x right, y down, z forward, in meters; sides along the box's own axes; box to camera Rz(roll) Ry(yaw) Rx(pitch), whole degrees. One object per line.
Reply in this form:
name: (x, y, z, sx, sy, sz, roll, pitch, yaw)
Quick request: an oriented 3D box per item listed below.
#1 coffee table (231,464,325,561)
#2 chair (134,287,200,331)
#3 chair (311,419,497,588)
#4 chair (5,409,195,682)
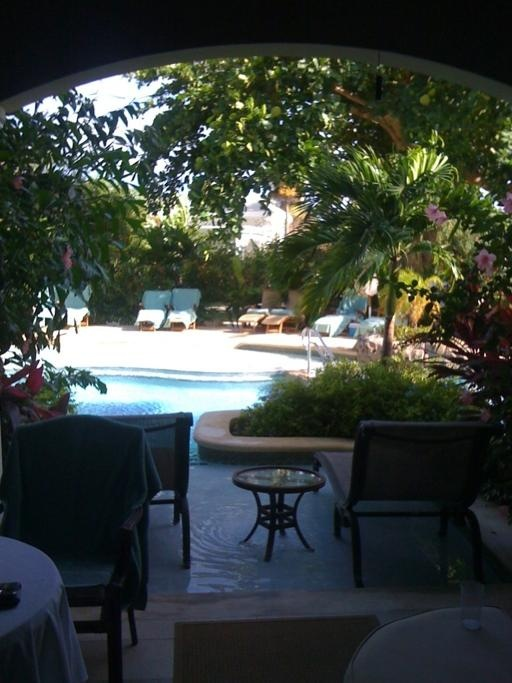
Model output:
coffee table: (0.139, 0.917, 2.887, 0.442, 0.350, 0.430, 5, -7, -39)
chair: (-2.245, -0.825, 14.222, 1.067, 0.564, 1.368, -1, 19, 4)
chair: (0.750, 0.730, 2.953, 0.690, 0.789, 1.313, 1, 2, 5)
chair: (-0.545, 0.602, 2.000, 0.516, 0.652, 0.865, -1, -7, 2)
